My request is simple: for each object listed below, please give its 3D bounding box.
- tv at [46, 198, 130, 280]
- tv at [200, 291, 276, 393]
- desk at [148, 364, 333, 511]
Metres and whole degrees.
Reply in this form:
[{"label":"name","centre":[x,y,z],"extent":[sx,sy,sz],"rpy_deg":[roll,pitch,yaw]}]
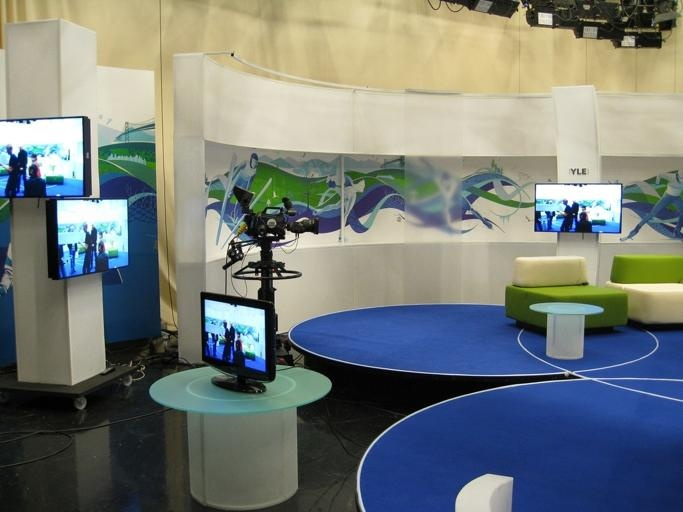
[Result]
[{"label":"tv","centre":[-2.529,-0.212,6.906],"extent":[0.214,0.772,0.958],"rpy_deg":[5,11,27]},{"label":"tv","centre":[-0.775,0.659,5.175],"extent":[0.670,0.635,0.213],"rpy_deg":[0,1,33]},{"label":"desk","centre":[-0.691,1.292,5.266],"extent":[1.065,0.711,1.112],"rpy_deg":[-1,3,-39]}]
